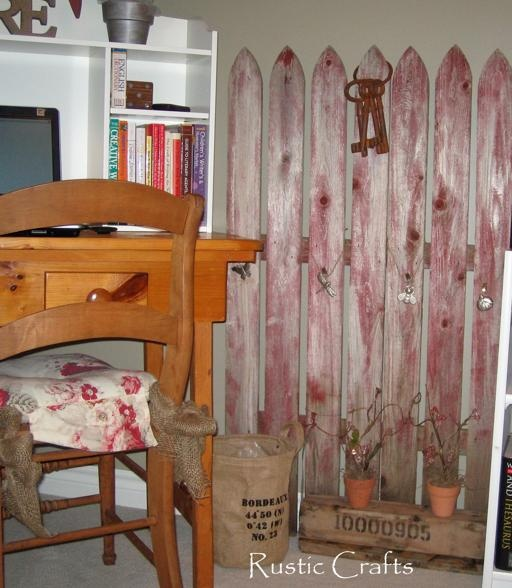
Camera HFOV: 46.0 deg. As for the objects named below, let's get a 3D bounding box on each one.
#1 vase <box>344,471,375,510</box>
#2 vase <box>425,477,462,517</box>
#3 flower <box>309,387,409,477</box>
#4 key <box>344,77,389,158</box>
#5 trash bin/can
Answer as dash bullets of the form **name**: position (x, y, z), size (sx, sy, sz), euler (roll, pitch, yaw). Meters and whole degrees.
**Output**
- **vase**: position (0.315, 0.594, 1.833), size (0.090, 0.076, 0.089), euler (0, -5, 3)
- **vase**: position (0.544, 0.588, 1.766), size (0.093, 0.083, 0.093), euler (0, -2, -1)
- **flower**: position (0.347, 0.430, 2.021), size (0.287, 0.283, 0.208), euler (2, 4, -9)
- **key**: position (0.351, -0.531, 1.842), size (0.130, 0.244, 0.050), euler (-1, 9, -8)
- **trash bin/can**: position (-0.027, 0.594, 1.835), size (0.257, 0.413, 0.238), euler (-1, 7, -23)
